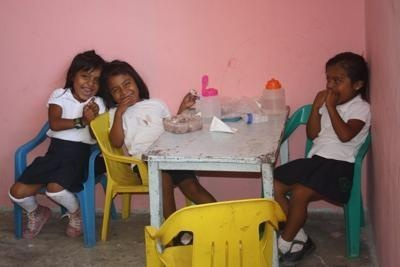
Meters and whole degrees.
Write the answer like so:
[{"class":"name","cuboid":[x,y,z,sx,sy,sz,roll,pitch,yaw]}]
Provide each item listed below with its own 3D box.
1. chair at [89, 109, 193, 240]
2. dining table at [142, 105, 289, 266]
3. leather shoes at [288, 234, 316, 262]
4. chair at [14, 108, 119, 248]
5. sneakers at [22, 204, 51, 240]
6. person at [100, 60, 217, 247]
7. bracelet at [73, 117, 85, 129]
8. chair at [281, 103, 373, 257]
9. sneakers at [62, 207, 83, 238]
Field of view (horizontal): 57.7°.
[{"class":"chair","cuboid":[-0.510,0.385,2.716,0.539,0.658,0.497,2,-1,-44]},{"class":"dining table","cuboid":[0.127,0.451,2.318,0.673,0.625,1.244,0,17,6]},{"class":"leather shoes","cuboid":[0.696,0.768,2.479,0.223,0.093,0.102,-21,20,-40]},{"class":"chair","cuboid":[-1.234,0.290,3.088,0.865,1.160,0.815,4,9,14]},{"class":"sneakers","cuboid":[-1.270,0.664,2.948,0.113,0.344,0.157,22,-32,-5]},{"class":"person","cuboid":[-0.287,0.085,2.677,0.585,1.253,1.176,-22,28,-30]},{"class":"bracelet","cuboid":[-0.929,-0.086,2.754,0.059,0.081,0.040,-2,-4,16]},{"class":"chair","cuboid":[0.910,0.302,2.620,0.571,0.987,0.407,2,11,25]},{"class":"sneakers","cuboid":[-0.993,0.706,2.861,0.096,0.148,0.239,-2,16,2]}]
